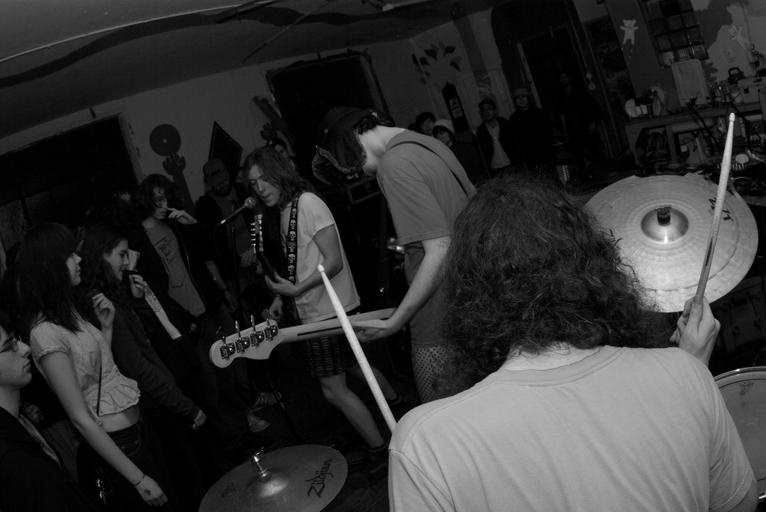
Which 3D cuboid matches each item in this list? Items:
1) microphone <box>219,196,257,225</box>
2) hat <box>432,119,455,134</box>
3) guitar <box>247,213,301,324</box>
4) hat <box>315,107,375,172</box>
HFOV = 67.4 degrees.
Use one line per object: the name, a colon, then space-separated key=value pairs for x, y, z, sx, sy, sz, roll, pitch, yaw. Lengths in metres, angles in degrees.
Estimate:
microphone: x=-0.985 y=-0.317 z=3.841 sx=0.317 sy=0.108 sz=0.076 roll=-41 pitch=22 yaw=-9
hat: x=0.461 y=-0.984 z=4.358 sx=0.101 sy=0.114 sz=0.143 roll=-4 pitch=12 yaw=23
guitar: x=-0.653 y=0.059 z=3.766 sx=0.095 sy=0.724 sz=0.338 roll=-10 pitch=1 yaw=-39
hat: x=-0.188 y=-0.646 z=3.038 sx=0.291 sy=0.272 sz=0.226 roll=-41 pitch=7 yaw=29
